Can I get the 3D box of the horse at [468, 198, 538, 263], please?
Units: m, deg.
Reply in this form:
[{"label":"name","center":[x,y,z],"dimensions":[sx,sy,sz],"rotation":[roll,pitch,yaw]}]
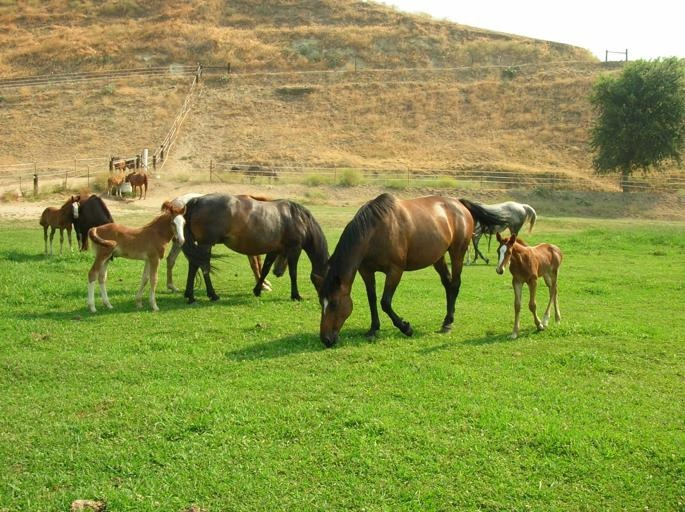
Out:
[{"label":"horse","center":[5.551,-1.068,31.036],"dimensions":[3.604,2.732,0.934],"rotation":[-5,17,-12]}]
